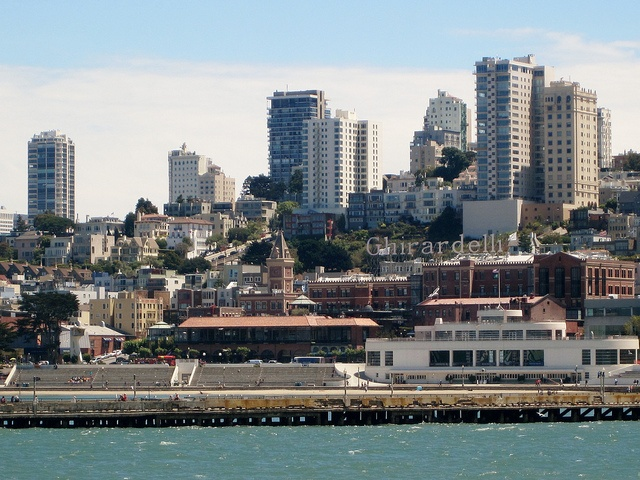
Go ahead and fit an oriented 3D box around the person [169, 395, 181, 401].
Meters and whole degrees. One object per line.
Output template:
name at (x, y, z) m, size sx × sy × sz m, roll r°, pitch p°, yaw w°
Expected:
person at (-19.964, 21.912, 319.973) m, size 1.130 × 0.945 × 1.594 m, roll 8°, pitch -15°, yaw -33°
